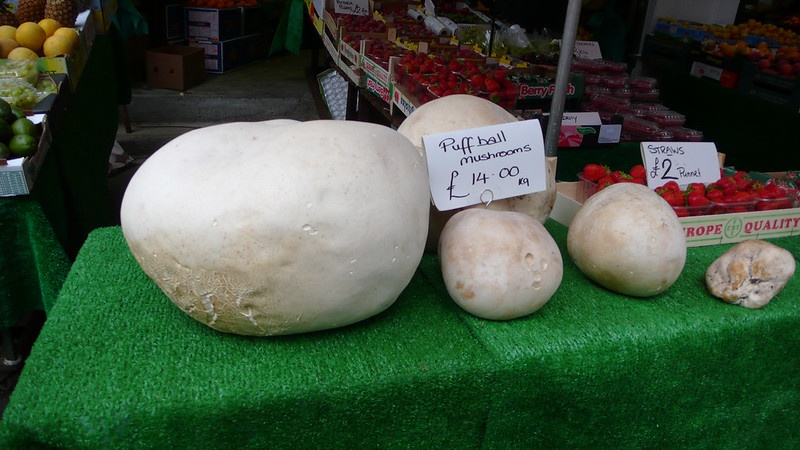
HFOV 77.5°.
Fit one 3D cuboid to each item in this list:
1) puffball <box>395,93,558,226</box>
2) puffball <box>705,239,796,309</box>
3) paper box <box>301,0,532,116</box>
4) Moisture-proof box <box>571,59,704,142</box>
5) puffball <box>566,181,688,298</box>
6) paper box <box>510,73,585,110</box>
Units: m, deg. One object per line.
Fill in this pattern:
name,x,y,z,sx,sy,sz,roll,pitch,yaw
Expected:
puffball,0.369,-0.287,2.080,0.592,0.338,0.479,35,75,15
puffball,1.316,0.213,1.892,0.290,0.087,0.232,-34,57,-4
paper box,0.025,-1.346,3.997,1.025,0.312,1.777,-14,39,-24
Moisture-proof box,1.803,-1.041,3.975,0.549,0.208,0.704,15,54,9
puffball,0.923,0.033,2.014,0.494,0.398,0.535,-3,23,17
paper box,1.113,-0.942,3.715,0.471,0.317,0.285,9,27,28
